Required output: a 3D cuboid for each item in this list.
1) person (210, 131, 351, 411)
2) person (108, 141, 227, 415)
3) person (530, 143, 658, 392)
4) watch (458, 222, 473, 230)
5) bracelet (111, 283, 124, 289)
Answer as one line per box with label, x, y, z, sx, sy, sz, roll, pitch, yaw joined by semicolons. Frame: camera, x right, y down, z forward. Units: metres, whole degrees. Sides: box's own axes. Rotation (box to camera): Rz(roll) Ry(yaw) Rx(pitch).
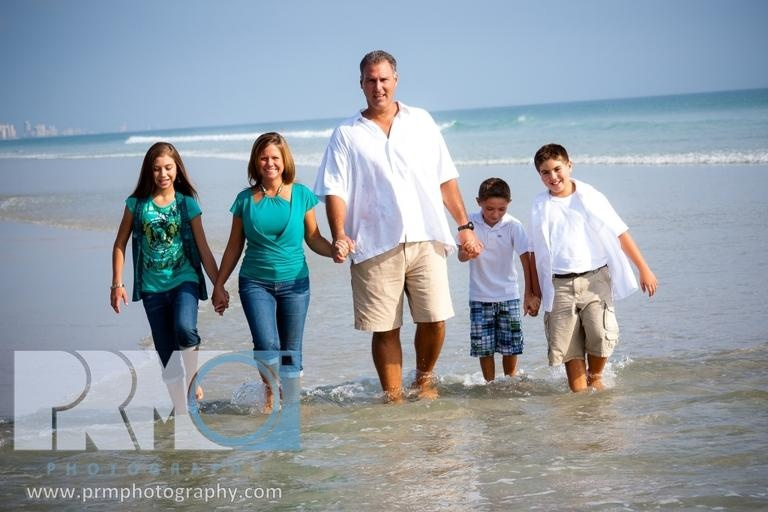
person;-1.065;-0.103;7.897;1.103;1.834;0.391;-5;3;-5
person;-2.081;-0.026;7.933;1.041;1.933;0.609;-5;3;-10
person;1.979;0.100;8.182;1.051;2.459;0.312;-4;3;9
watch;0.789;-0.275;7.962;0.091;0.050;0.092;-19;-14;33
bracelet;-2.567;0.286;7.968;0.070;0.072;0.068;1;-12;35
